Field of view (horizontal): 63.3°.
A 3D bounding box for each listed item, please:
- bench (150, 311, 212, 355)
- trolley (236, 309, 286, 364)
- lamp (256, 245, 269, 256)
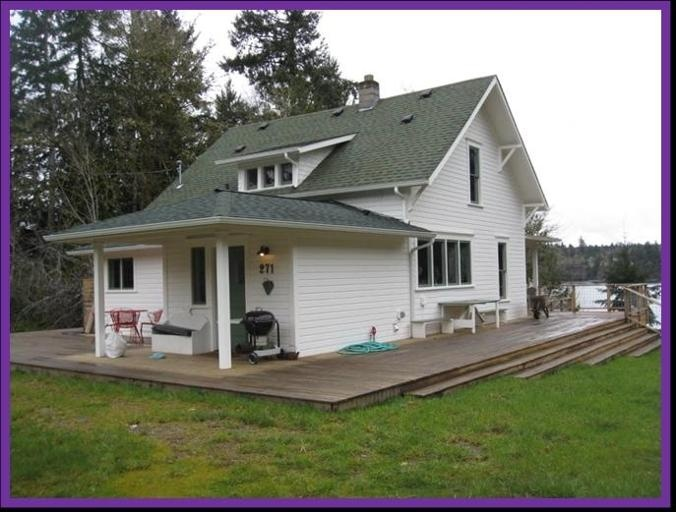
[{"bbox_3d":[-3.806,2.094,13.593,1.779,1.222,0.927,-4,-8,32],"label":"bench"},{"bbox_3d":[-1.764,1.746,12.150,0.858,1.078,0.964,-2,0,-35],"label":"trolley"},{"bbox_3d":[-1.701,-0.127,12.587,0.235,0.251,0.255,-5,36,2],"label":"lamp"}]
